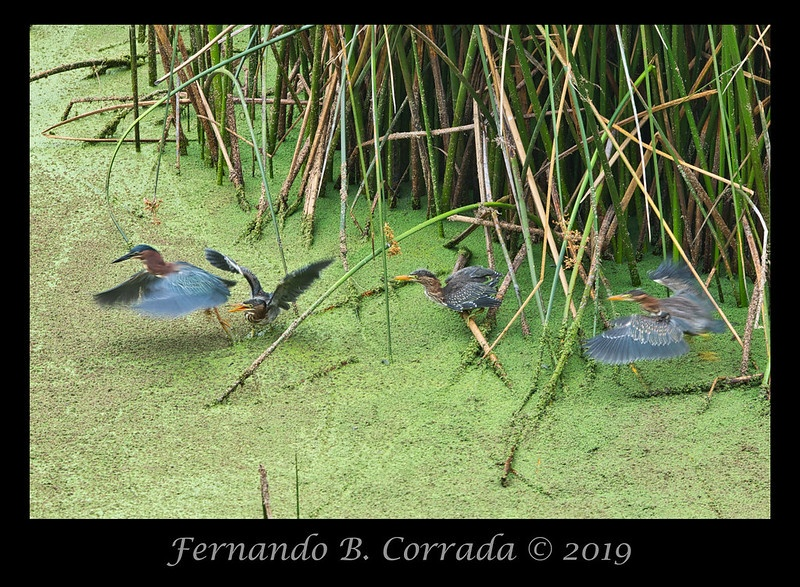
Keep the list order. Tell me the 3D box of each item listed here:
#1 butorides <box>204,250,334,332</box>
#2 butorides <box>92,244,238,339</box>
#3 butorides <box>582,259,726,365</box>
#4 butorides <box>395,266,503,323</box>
[{"bbox_3d":[-0.676,0.006,5.031,0.712,0.372,0.555,9,17,19],"label":"butorides"},{"bbox_3d":[-1.170,-0.047,4.956,0.768,0.387,0.501,-3,7,-37],"label":"butorides"},{"bbox_3d":[1.291,0.094,4.702,0.556,0.304,0.820,0,34,40],"label":"butorides"},{"bbox_3d":[0.282,-0.026,5.007,0.498,0.247,0.291,-7,27,3],"label":"butorides"}]
